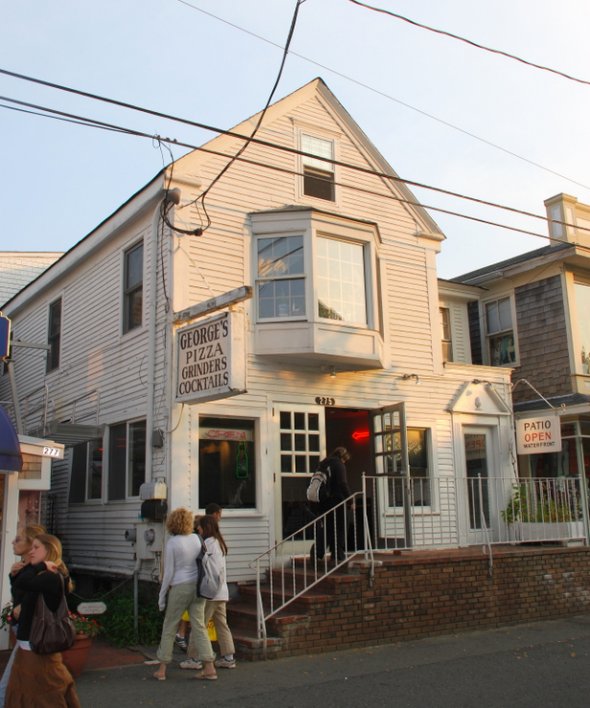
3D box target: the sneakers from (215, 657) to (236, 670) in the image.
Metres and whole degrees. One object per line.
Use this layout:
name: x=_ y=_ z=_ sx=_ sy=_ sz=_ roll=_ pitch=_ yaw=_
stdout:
sneakers: x=-0.709 y=3.208 z=6.625 sx=0.263 sy=0.122 sz=0.096 roll=-3 pitch=-8 yaw=33

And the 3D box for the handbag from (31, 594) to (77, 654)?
handbag: x=-1.388 y=1.585 z=3.694 sx=0.169 sy=0.331 sz=0.262 roll=-10 pitch=-15 yaw=31

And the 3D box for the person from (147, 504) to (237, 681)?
person: x=-1.023 y=2.279 z=6.330 sx=0.633 sy=1.432 sz=0.389 roll=-1 pitch=-13 yaw=-5

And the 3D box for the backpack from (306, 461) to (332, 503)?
backpack: x=0.315 y=1.821 z=8.965 sx=0.310 sy=0.587 sz=0.293 roll=3 pitch=-14 yaw=-21

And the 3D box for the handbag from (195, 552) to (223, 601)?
handbag: x=-0.856 y=2.196 z=6.256 sx=0.167 sy=0.430 sz=0.368 roll=-14 pitch=-19 yaw=5

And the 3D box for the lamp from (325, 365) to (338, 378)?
lamp: x=0.653 y=0.311 z=10.828 sx=0.242 sy=0.160 sz=0.235 roll=3 pitch=-14 yaw=-24

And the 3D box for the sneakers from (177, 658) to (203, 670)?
sneakers: x=-1.078 y=3.216 z=6.574 sx=0.209 sy=0.105 sz=0.094 roll=3 pitch=-11 yaw=0
